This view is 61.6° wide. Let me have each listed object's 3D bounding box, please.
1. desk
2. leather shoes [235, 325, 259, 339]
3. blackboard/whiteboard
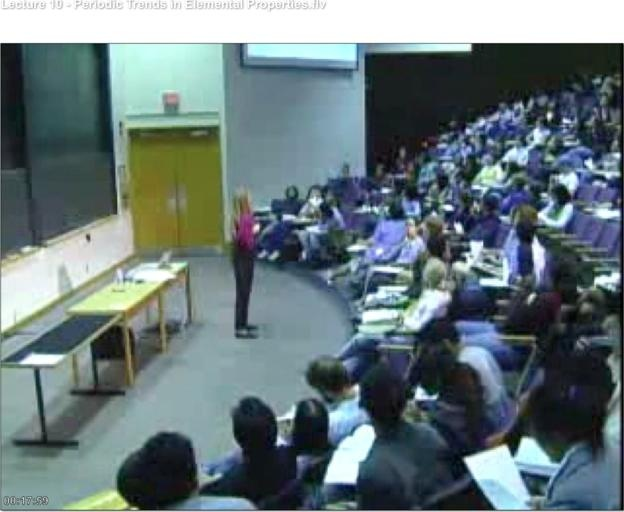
[{"bbox_3d":[-1.566,0.552,3.885,1.347,0.941,0.300,-5,15,-15],"label":"desk"},{"bbox_3d":[-0.496,0.578,3.946,0.171,0.091,0.037,-2,14,-5],"label":"leather shoes"},{"bbox_3d":[-1.883,-0.774,3.957,1.476,1.789,0.082,-4,-3,14],"label":"blackboard/whiteboard"}]
